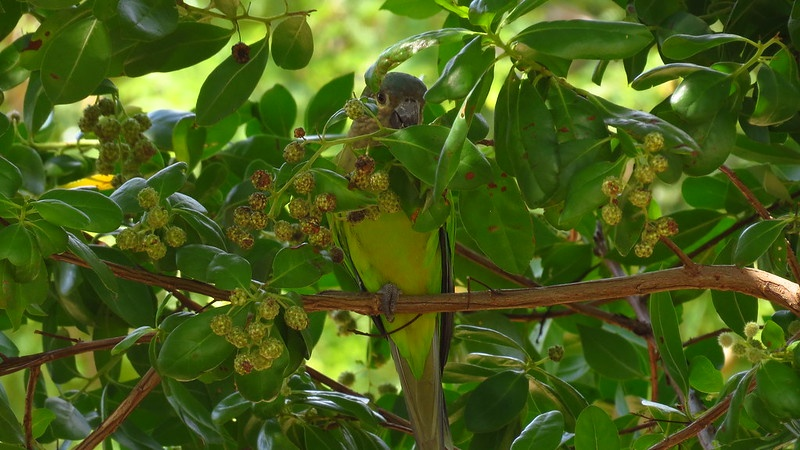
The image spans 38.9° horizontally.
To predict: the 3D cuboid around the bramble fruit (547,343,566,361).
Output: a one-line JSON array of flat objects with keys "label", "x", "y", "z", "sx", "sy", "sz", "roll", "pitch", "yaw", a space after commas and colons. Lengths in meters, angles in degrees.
[{"label": "bramble fruit", "x": 0.539, "y": 0.448, "z": 3.965, "sx": 0.029, "sy": 0.055, "sz": 0.063, "roll": 27, "pitch": -16, "yaw": -36}]
